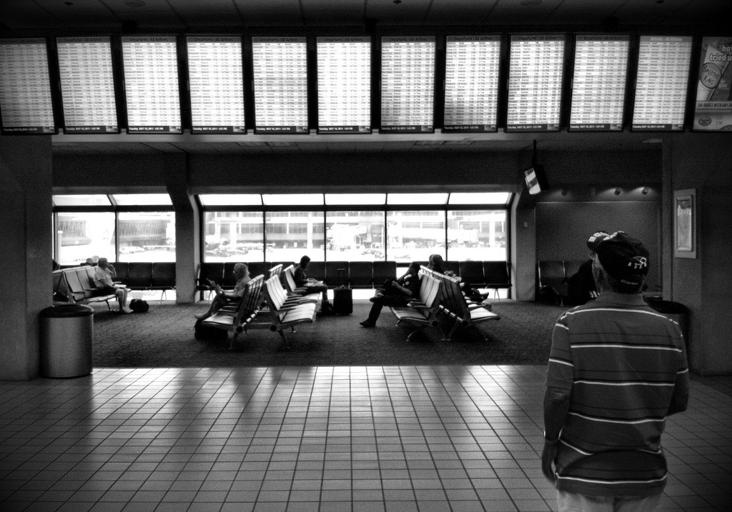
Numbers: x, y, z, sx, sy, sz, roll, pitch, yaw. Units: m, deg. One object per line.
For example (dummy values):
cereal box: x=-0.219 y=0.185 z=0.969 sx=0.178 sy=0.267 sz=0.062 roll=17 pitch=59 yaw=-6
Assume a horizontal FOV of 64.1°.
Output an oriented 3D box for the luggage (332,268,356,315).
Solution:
luggage: x=-0.612 y=0.890 z=14.664 sx=0.410 sy=0.959 sz=1.066 roll=-1 pitch=1 yaw=1

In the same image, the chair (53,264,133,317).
chair: x=-6.634 y=0.833 z=13.588 sx=1.101 sy=1.036 sz=2.411 roll=0 pitch=0 yaw=2
